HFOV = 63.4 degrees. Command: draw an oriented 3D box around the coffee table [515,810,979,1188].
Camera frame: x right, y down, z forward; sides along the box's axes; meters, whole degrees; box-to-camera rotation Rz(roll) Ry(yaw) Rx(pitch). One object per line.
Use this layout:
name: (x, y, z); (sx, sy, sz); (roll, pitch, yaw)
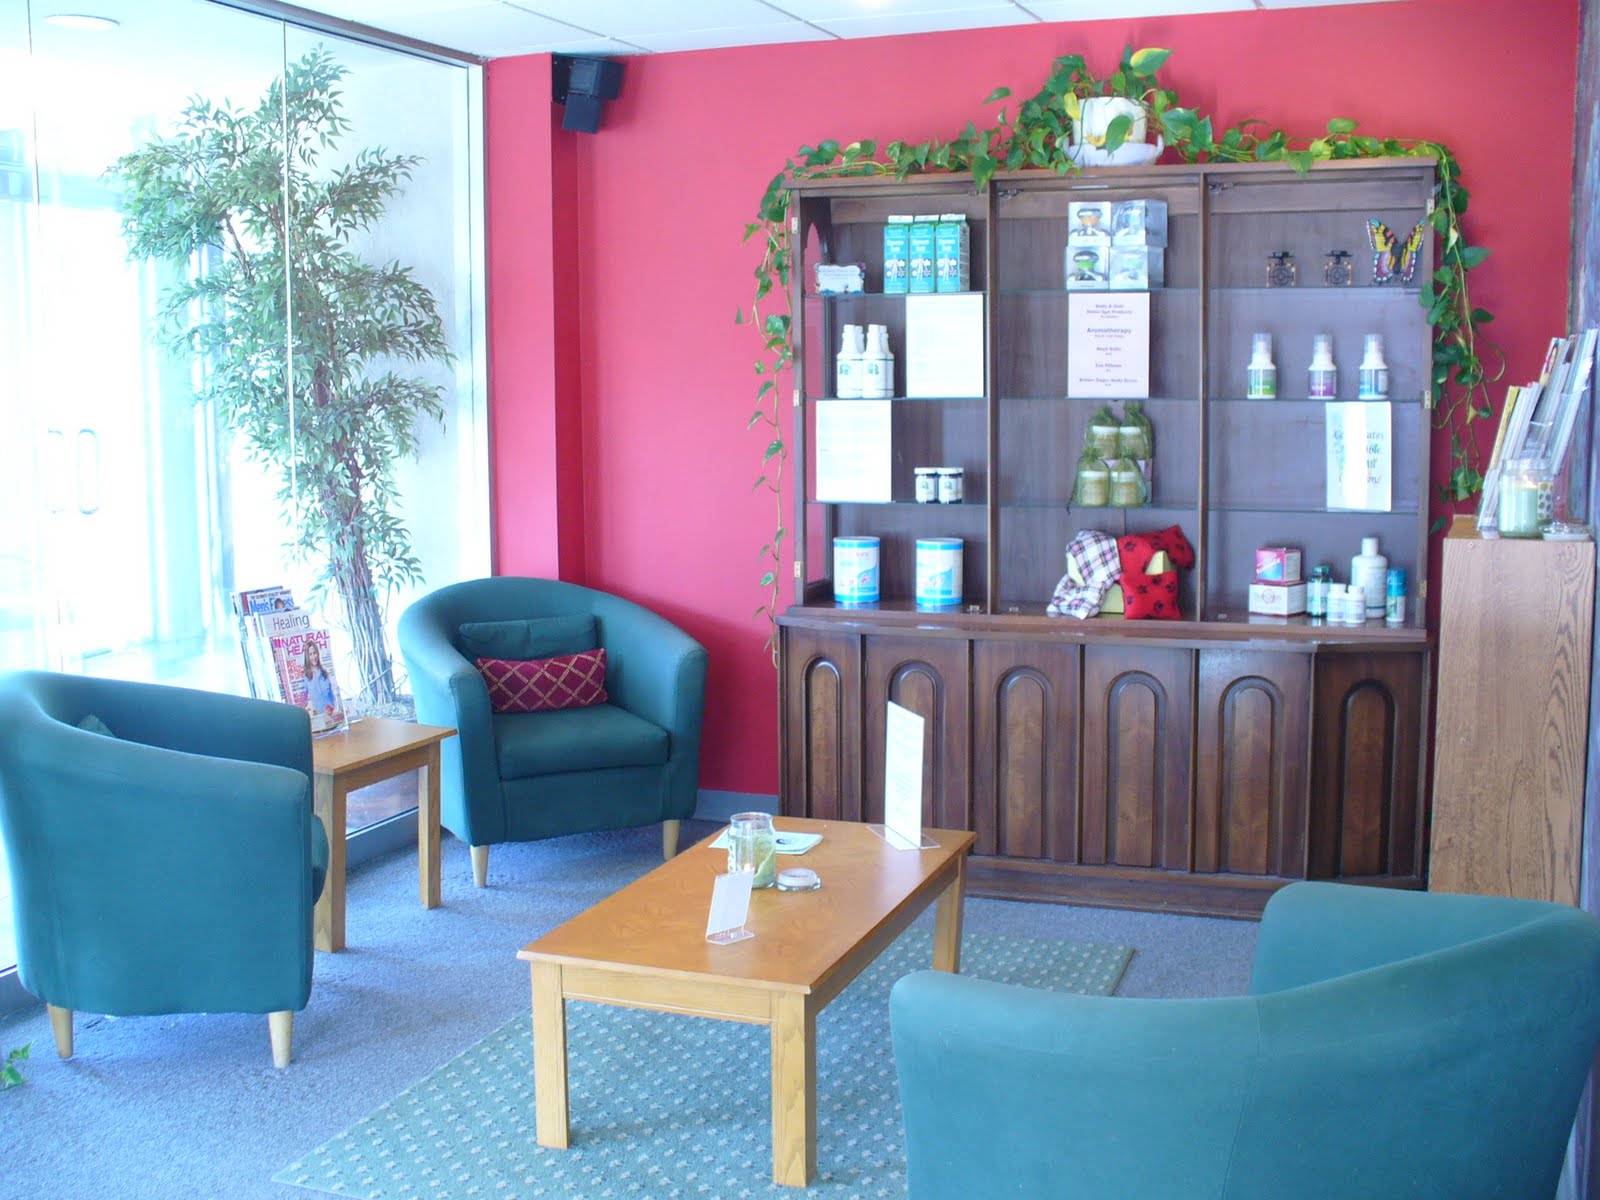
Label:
coffee table: (-0.196, 0.862, 3.287); (0.724, 0.422, 1.160); (2, 8, 19)

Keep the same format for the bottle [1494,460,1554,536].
bottle: (2.187, -0.304, 3.903); (0.136, 0.229, 0.065); (5, 11, 29)

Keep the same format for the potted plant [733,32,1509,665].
potted plant: (1.165, -1.103, 5.032); (2.726, 1.979, 0.846); (4, 11, 27)

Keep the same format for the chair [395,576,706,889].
chair: (-1.100, 0.495, 5.468); (1.159, 1.047, 1.070); (-3, 11, -27)

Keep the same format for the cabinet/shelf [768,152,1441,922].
cabinet/shelf: (1.223, -0.230, 4.842); (2.920, 3.197, 0.873); (1, 2, 18)

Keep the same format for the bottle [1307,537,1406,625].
bottle: (2.084, -0.051, 4.799); (0.421, 0.407, 0.234); (-1, 7, 3)

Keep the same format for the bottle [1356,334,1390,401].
bottle: (2.143, -0.861, 4.823); (0.109, 0.240, 0.167); (3, 10, 22)

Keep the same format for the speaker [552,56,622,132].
speaker: (-0.968, -2.225, 5.672); (0.268, 0.258, 0.197); (-26, 57, -27)

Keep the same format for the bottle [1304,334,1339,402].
bottle: (1.976, -0.876, 4.884); (0.112, 0.252, 0.167); (3, 10, 21)

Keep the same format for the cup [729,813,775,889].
cup: (-0.143, 0.690, 3.549); (0.158, 0.213, 0.154); (0, -7, 0)

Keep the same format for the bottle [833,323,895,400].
bottle: (0.259, -0.940, 5.206); (0.290, 0.321, 0.279); (-3, 7, -25)

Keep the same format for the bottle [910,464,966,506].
bottle: (0.557, -0.456, 5.224); (0.157, 0.110, 0.159); (0, 3, 0)
